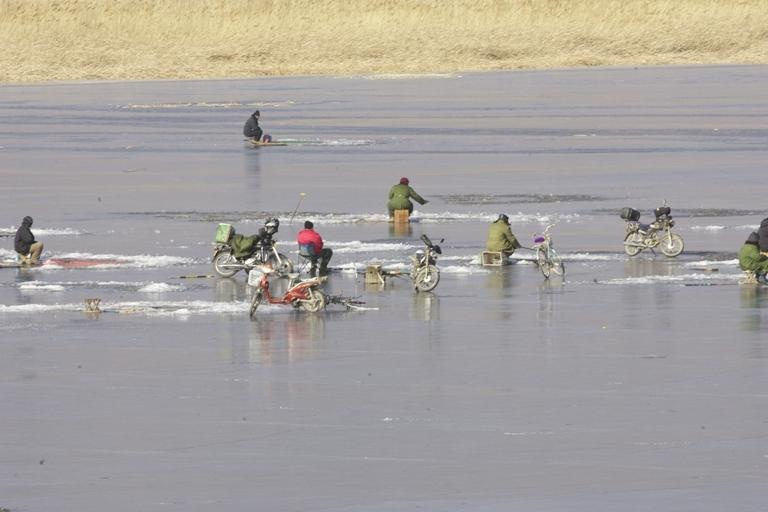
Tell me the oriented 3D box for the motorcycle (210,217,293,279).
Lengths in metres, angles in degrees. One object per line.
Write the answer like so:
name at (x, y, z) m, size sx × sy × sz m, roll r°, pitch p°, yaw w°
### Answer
motorcycle at (-3.108, -0.038, 44.478) m, size 2.982 × 1.711 × 1.117 m, roll 0°, pitch -3°, yaw 41°

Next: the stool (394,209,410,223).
stool at (0.462, -0.939, 51.758) m, size 0.365 × 0.379 × 0.201 m, roll -2°, pitch 12°, yaw -7°

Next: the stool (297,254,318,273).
stool at (-1.747, 0.245, 44.283) m, size 0.493 × 0.398 × 0.464 m, roll 5°, pitch 10°, yaw 18°

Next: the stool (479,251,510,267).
stool at (2.546, 0.157, 45.796) m, size 0.506 × 0.244 × 0.434 m, roll 0°, pitch 3°, yaw 6°

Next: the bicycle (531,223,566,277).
bicycle at (3.799, 0.017, 44.979) m, size 0.701 × 0.924 × 1.484 m, roll 1°, pitch 11°, yaw 5°

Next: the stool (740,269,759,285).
stool at (8.130, 0.551, 43.939) m, size 0.393 × 0.210 × 0.342 m, roll 2°, pitch 0°, yaw -10°

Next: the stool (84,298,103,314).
stool at (-6.091, 1.113, 41.382) m, size 0.388 × 0.267 × 0.348 m, roll -3°, pitch 8°, yaw -24°

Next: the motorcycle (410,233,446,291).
motorcycle at (0.916, 0.178, 43.654) m, size 0.669 × 1.184 × 1.403 m, roll 0°, pitch 11°, yaw 1°

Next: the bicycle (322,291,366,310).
bicycle at (-0.829, 1.006, 41.686) m, size 0.409 × 0.231 × 0.629 m, roll 5°, pitch 5°, yaw 42°
